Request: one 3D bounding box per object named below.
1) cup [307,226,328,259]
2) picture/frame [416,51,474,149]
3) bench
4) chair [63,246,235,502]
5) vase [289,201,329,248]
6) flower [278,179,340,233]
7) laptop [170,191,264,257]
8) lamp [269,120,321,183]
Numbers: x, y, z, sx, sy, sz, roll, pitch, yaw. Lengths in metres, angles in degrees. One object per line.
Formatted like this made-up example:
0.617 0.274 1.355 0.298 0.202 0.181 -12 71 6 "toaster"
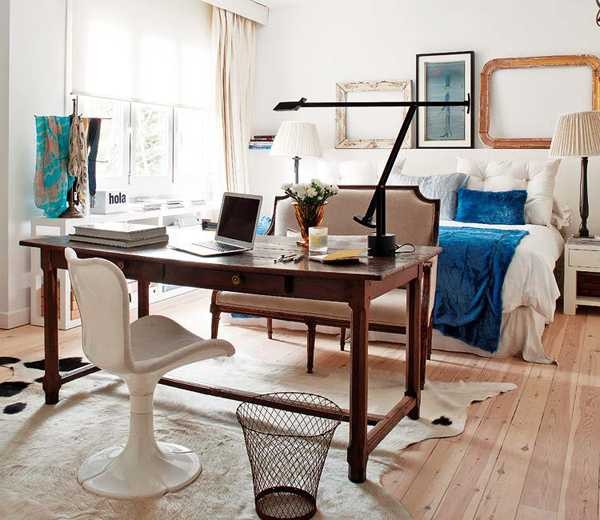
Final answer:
0.061 -0.074 2.054 0.102 0.114 0.112 0 1 -6 "cup"
1.512 -1.653 5.161 0.651 0.981 0.209 7 10 34 "picture/frame"
0.149 0.152 2.444 1.265 1.044 0.682 1 1 24 "bench"
-0.635 0.344 2.187 0.844 1.115 0.710 -4 8 -36 "chair"
0.034 -0.182 2.314 0.203 0.204 0.184 2 6 18 "vase"
0.037 -0.244 2.252 0.190 0.236 0.219 -4 9 -34 "flower"
-0.344 -0.101 2.118 0.326 0.255 0.370 -3 7 -43 "laptop"
-0.027 -1.070 5.002 0.565 0.677 0.574 4 6 43 "lamp"
